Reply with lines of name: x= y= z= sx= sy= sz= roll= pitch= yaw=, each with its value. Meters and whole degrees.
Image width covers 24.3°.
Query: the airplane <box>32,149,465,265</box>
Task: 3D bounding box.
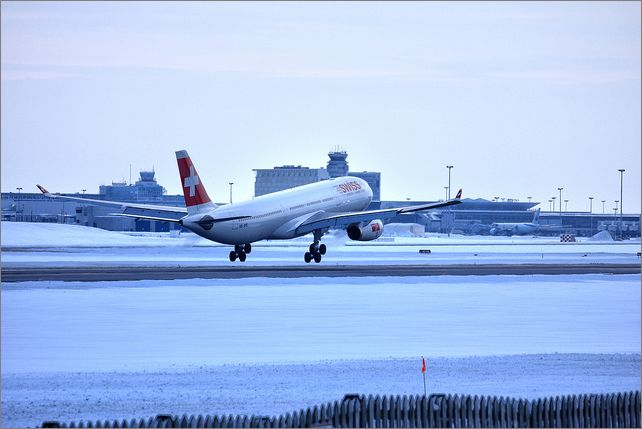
airplane: x=-3.727 y=-0.454 z=122.520 sx=18.935 sy=9.061 sz=22.445 roll=-1 pitch=-1 yaw=21

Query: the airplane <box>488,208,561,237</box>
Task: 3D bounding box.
airplane: x=31.329 y=1.603 z=240.210 sx=8.363 sy=3.426 sz=7.303 roll=-5 pitch=2 yaw=13
